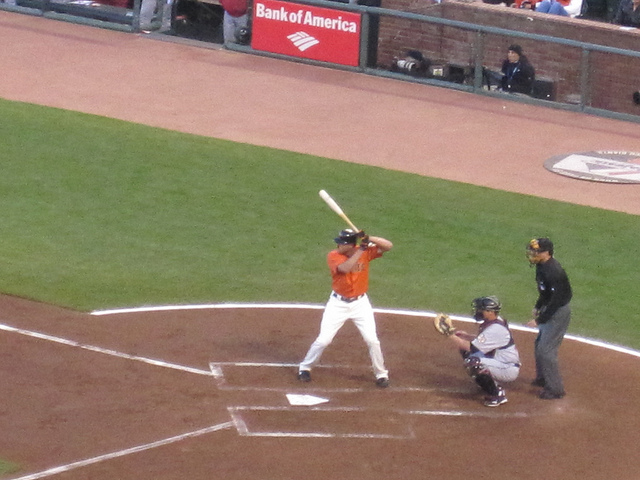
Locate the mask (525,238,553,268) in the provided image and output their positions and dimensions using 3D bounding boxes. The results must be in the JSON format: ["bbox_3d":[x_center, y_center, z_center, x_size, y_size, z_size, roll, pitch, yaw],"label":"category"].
[{"bbox_3d":[3.546,0.182,27.239,0.503,0.473,0.389,4,1,2],"label":"mask"}]

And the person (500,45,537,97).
[{"bbox_3d":[4.293,-3.585,36.558,0.944,1.228,0.821,6,15,22],"label":"person"}]

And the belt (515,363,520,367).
[{"bbox_3d":[3.205,2.005,27.100,0.067,0.060,0.085,1,0,6],"label":"belt"}]

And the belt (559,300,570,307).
[{"bbox_3d":[3.962,1.010,27.071,0.089,0.020,0.083,-28,-8,-32],"label":"belt"}]

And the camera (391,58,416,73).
[{"bbox_3d":[1.914,-3.913,37.757,0.470,0.188,0.301,8,2,22],"label":"camera"}]

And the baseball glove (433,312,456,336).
[{"bbox_3d":[2.072,1.393,27.538,0.343,0.371,0.462,8,12,5],"label":"baseball glove"}]
